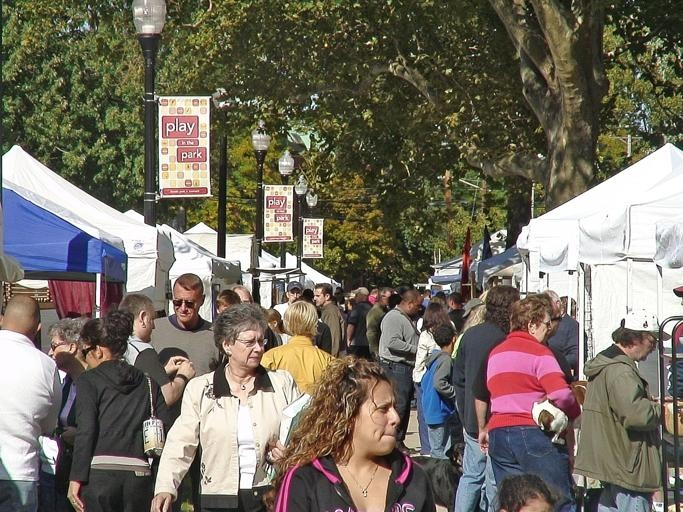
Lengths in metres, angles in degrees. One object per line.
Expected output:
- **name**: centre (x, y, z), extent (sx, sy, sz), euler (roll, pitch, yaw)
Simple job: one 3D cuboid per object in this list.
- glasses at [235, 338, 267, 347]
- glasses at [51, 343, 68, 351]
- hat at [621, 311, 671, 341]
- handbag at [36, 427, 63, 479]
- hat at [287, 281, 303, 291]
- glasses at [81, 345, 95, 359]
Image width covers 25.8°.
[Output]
- **glasses**: centre (-1.127, 1.103, 18.573), extent (0.377, 0.117, 0.115), euler (7, -10, -29)
- **glasses**: centre (-3.823, 1.244, 19.975), extent (0.246, 0.108, 0.076), euler (-6, -11, 42)
- **hat**: centre (4.225, 0.968, 20.743), extent (0.589, 0.348, 0.397), euler (7, -2, -6)
- **handbag**: centre (-3.807, 2.501, 19.455), extent (0.255, 0.495, 0.361), euler (12, 33, 12)
- **hat**: centre (-0.947, 0.659, 29.791), extent (0.187, 0.149, 0.316), euler (4, 9, -3)
- **glasses**: centre (-3.268, 1.263, 19.176), extent (0.185, 0.175, 0.189), euler (7, -2, 1)
